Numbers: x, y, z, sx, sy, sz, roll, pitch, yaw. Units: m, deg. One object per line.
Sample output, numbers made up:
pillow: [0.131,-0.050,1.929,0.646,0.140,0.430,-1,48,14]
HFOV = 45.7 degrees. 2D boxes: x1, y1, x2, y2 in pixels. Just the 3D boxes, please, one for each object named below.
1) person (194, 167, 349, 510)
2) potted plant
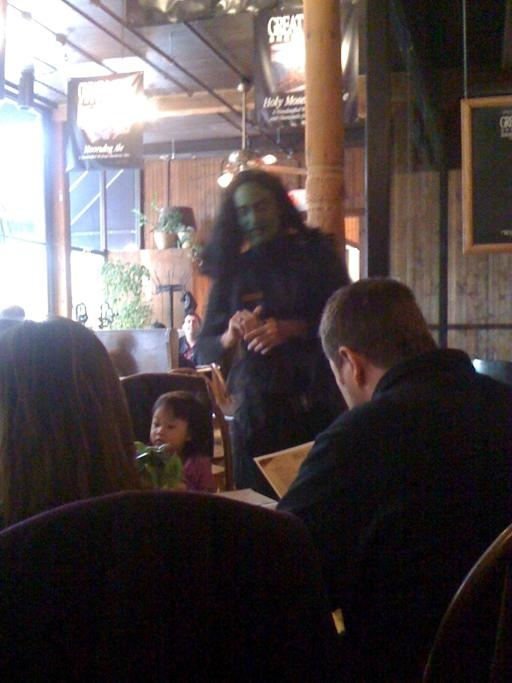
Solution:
person: [0.048,0.066,1.582,0.299,1.060,0.383,3,42,12]
potted plant: [-1.267,-1.793,9.675,0.662,0.713,0.549,8,0,-10]
